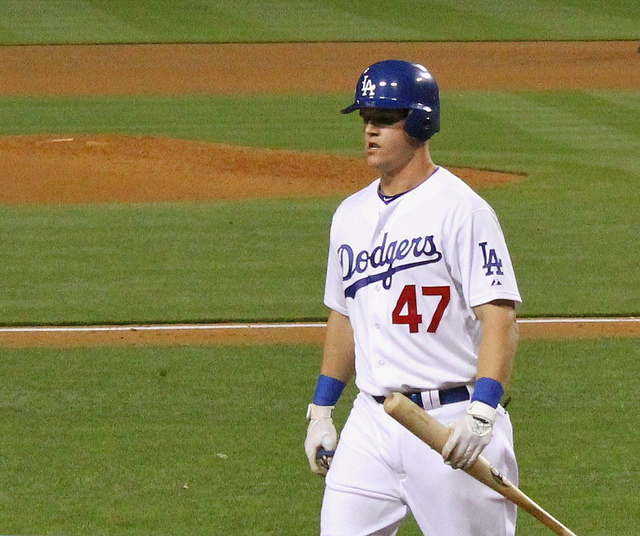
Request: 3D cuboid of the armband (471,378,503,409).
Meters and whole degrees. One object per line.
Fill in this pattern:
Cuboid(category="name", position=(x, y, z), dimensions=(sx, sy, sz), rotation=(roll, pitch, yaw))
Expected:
Cuboid(category="armband", position=(1.724, 1.259, 16.704), dimensions=(0.296, 0.245, 0.300), rotation=(19, 1, 5))
